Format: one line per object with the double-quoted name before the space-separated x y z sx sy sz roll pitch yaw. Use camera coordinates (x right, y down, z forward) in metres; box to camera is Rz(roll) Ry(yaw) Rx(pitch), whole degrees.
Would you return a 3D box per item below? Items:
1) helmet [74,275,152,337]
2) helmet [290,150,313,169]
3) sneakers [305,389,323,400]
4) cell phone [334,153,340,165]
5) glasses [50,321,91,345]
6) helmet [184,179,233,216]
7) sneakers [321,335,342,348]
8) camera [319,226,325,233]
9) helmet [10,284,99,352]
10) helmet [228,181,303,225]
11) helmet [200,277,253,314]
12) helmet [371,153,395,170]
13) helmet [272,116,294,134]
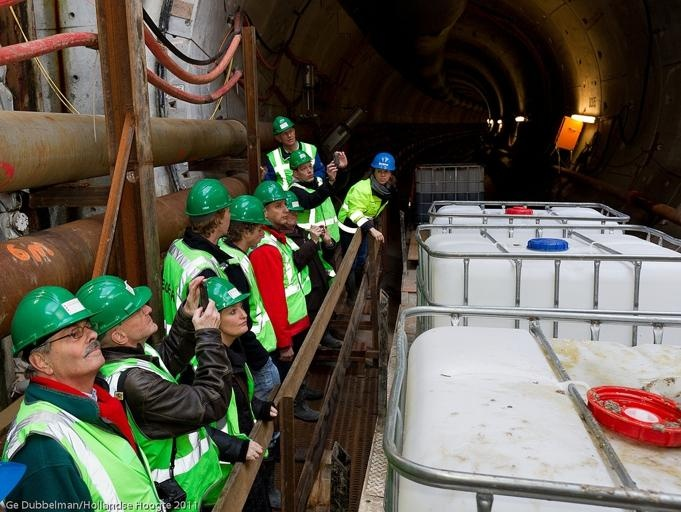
"helmet" -1.271 0.246 2.800 0.351 0.162 0.288 -25 27 -4
"helmet" -0.539 -1.234 6.689 0.269 0.165 0.222 4 27 45
"sneakers" -0.318 1.572 5.968 0.234 0.181 0.095 -3 37 -7
"cell phone" -0.048 -1.245 6.504 0.034 0.130 0.133 -2 5 -9
"glasses" -1.253 0.368 2.373 0.114 0.033 0.085 -27 4 16
"helmet" -1.060 -0.455 4.189 0.260 0.240 0.326 21 35 24
"sneakers" -0.129 1.138 6.881 0.308 0.144 0.121 1 7 15
"camera" -0.204 -0.295 5.547 0.022 0.079 0.053 -15 -12 39
"helmet" -1.368 0.285 2.426 0.315 0.222 0.264 -2 0 8
"helmet" -0.696 -0.554 5.217 0.463 0.350 0.373 3 16 6
"helmet" -0.777 0.254 3.342 0.228 0.147 0.185 -3 17 1
"helmet" 0.645 -1.372 7.468 0.307 0.180 0.271 18 18 -12
"helmet" -0.864 -1.874 7.418 0.243 0.173 0.308 -22 15 -11
